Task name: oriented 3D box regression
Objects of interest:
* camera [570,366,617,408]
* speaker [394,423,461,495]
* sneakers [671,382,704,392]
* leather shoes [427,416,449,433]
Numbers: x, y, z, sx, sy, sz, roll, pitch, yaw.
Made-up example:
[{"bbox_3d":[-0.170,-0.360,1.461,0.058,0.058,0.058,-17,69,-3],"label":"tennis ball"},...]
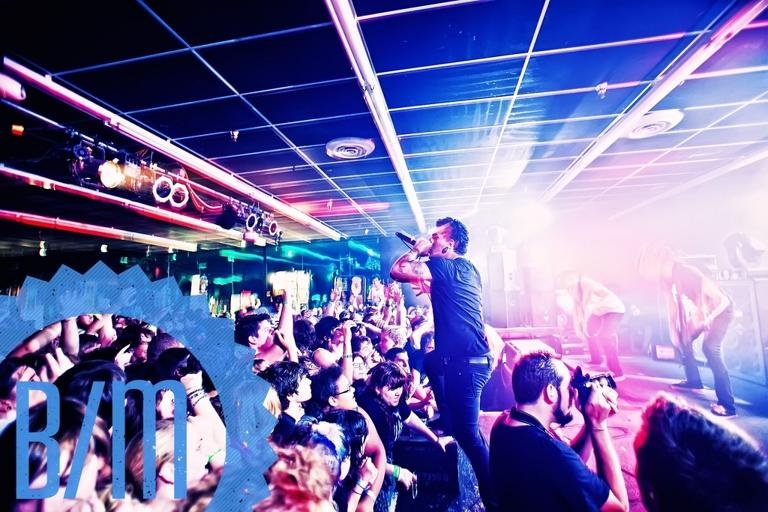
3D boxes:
[{"bbox_3d":[2.244,1.360,5.372,0.185,0.428,0.427,19,-6,-20],"label":"camera"},{"bbox_3d":[0.578,2.291,6.013,0.977,0.699,0.529,3,-14,14],"label":"speaker"},{"bbox_3d":[4.551,1.968,7.725,0.497,0.209,0.171,-11,-15,37],"label":"sneakers"},{"bbox_3d":[0.693,2.133,6.379,0.285,0.092,0.263,4,-6,-38],"label":"leather shoes"}]
